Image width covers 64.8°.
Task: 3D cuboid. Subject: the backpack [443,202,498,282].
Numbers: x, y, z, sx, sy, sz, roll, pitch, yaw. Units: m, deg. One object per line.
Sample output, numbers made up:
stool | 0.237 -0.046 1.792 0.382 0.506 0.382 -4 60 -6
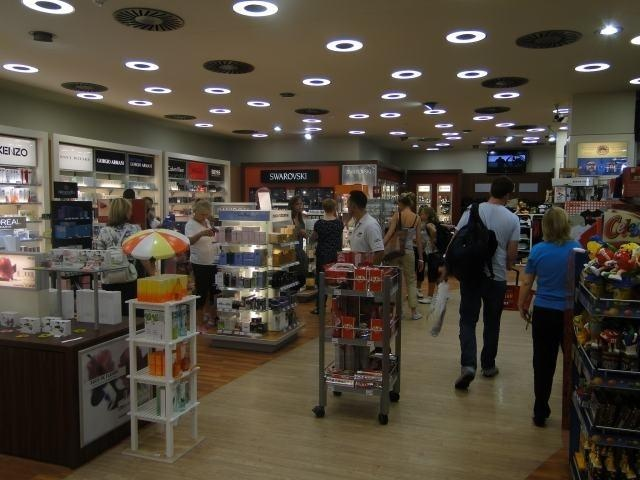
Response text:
backpack | 1.667 0.068 5.312 0.550 0.780 0.473 8 6 -44

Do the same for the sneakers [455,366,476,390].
sneakers | 1.595 1.532 5.560 0.131 0.172 0.383 8 -37 2

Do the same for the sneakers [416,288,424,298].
sneakers | 2.017 1.068 10.214 0.210 0.215 0.569 -2 -7 5

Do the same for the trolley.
trolley | 0.405 0.933 5.314 0.899 1.527 1.200 1 9 9
